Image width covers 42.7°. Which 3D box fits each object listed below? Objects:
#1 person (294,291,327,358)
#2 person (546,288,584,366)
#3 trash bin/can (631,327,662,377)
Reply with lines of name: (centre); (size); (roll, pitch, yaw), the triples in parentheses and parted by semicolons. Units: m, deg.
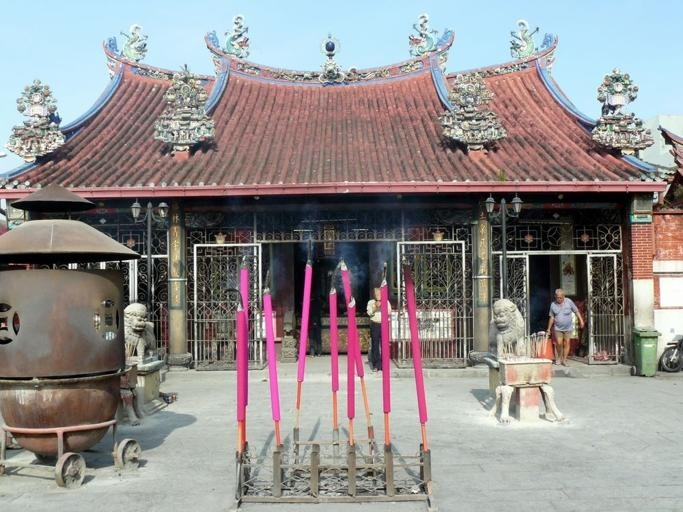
person: (-0.634, 1.449, 19.051); (0.357, 1.408, 0.822); (0, -6, -2)
person: (4.415, 1.395, 17.247); (0.647, 1.488, 1.030); (-2, -6, 15)
trash bin/can: (5.727, 1.799, 16.484); (0.505, 0.905, 0.384); (-3, -6, 23)
